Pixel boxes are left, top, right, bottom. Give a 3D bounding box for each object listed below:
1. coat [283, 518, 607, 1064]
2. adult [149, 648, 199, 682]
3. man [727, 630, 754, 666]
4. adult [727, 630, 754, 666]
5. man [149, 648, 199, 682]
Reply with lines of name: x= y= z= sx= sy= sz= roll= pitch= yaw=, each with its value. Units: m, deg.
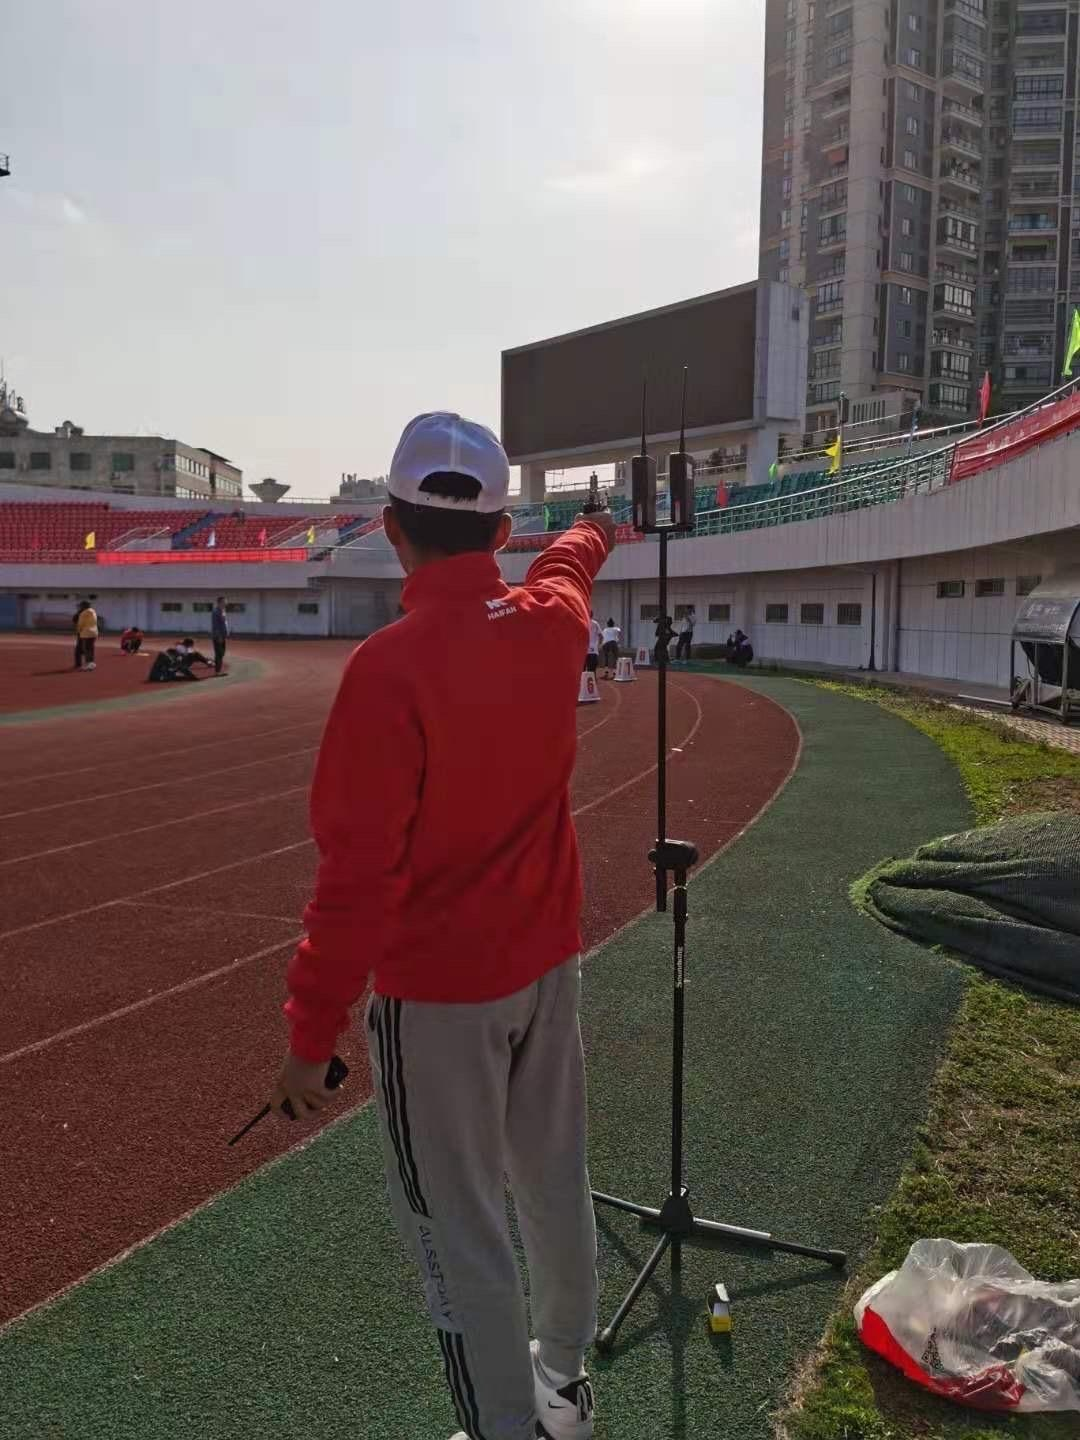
coat: x=-0.177 y=0.157 z=2.474 sx=0.632 sy=0.930 sz=0.302 roll=-3 pitch=8 yaw=-19
adult: x=-6.853 y=-0.994 z=24.162 sx=0.568 sy=0.640 sz=1.140 roll=2 pitch=5 yaw=11
man: x=4.844 y=-1.705 z=31.652 sx=0.536 sy=0.805 sz=1.375 roll=0 pitch=7 yaw=6
adult: x=4.861 y=-1.693 z=31.553 sx=0.503 sy=0.805 sz=1.157 roll=0 pitch=7 yaw=2
man: x=-6.795 y=-0.985 z=24.073 sx=0.633 sy=0.605 sz=1.866 roll=0 pitch=7 yaw=0
